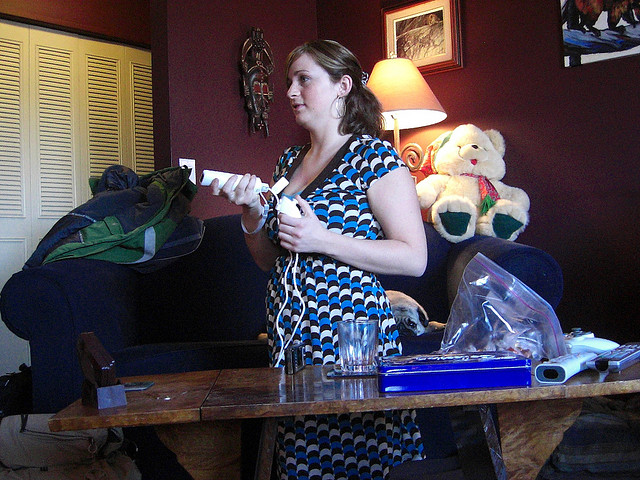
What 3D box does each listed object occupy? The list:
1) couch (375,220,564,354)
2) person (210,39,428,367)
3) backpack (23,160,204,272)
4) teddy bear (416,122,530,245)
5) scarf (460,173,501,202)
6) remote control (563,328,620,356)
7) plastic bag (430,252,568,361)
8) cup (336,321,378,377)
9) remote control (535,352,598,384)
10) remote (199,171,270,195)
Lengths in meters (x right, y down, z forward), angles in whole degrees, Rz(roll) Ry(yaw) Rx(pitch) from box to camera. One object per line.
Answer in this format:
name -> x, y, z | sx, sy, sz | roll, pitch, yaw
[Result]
couch -> 0.709, 0.137, 2.506 | 0.710, 0.790, 0.623 | 3, -24, -8
person -> 0.008, -0.129, 1.490 | 0.555, 0.895, 0.550 | -1, 9, 11
backpack -> -0.913, -0.085, 2.445 | 0.631, 0.314, 0.660 | 5, 23, 11
teddy bear -> 0.907, -0.313, 3.090 | 0.653, 0.754, 0.441 | 0, -12, -10
scarf -> 0.935, -0.302, 3.150 | 0.209, 0.124, 0.112 | 32, -28, 14
remote control -> 0.699, 0.264, 1.385 | 0.117, 0.047, 0.091 | -8, -8, 13
plastic bag -> 0.420, 0.159, 1.251 | 0.286, 0.238, 0.152 | 1, 9, 26
cup -> 0.084, 0.241, 1.190 | 0.109, 0.128, 0.106 | -5, -7, -1
remote control -> 0.520, 0.260, 1.118 | 0.182, 0.040, 0.054 | -9, 10, -35
remote -> -0.233, -0.161, 1.494 | 0.179, 0.074, 0.155 | -4, 8, -5
